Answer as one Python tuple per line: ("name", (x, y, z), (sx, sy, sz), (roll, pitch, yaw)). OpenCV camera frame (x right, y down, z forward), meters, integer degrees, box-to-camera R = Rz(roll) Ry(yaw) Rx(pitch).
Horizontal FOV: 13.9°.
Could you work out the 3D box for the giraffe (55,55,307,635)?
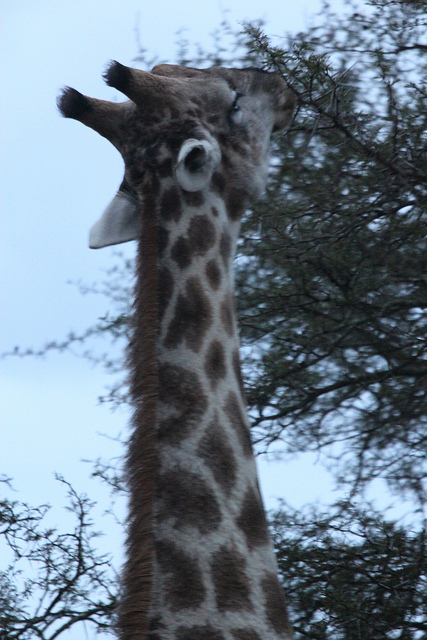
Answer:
("giraffe", (-0.160, -0.005, 8.520), (1.111, 3.049, 1.219), (-2, -42, 2))
